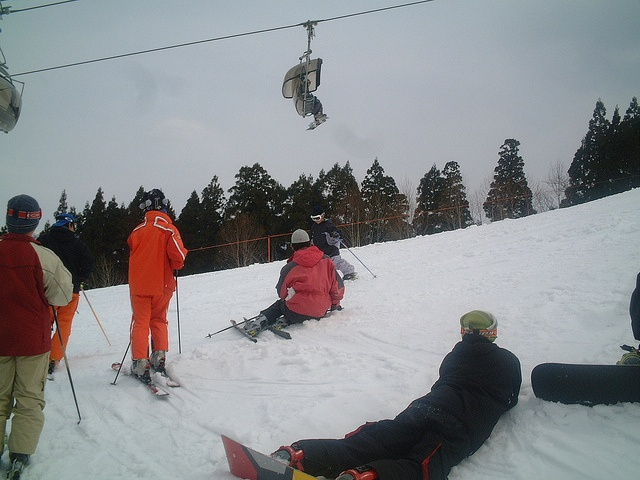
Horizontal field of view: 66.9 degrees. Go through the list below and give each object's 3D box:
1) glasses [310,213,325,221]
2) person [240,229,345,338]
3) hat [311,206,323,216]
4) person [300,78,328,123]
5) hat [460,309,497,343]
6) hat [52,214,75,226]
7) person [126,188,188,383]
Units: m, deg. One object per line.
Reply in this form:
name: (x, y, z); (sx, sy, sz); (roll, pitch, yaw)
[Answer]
glasses: (-0.041, -0.456, 10.188); (0.156, 0.113, 0.210); (-2, -5, 12)
person: (-0.294, 0.644, 7.623); (1.090, 1.613, 1.563); (-1, 4, -30)
hat: (-0.066, -0.589, 10.200); (0.157, 0.208, 0.226); (-8, -9, 16)
person: (-0.125, -2.362, 8.463); (0.411, 0.723, 0.724); (-5, -2, 11)
hat: (1.628, 0.847, 4.975); (0.273, 0.291, 0.335); (4, 3, 27)
hat: (-3.349, -0.253, 6.329); (0.199, 0.163, 0.146); (-30, 13, -19)
person: (-2.080, 0.558, 6.178); (0.731, 1.897, 0.644); (-4, -2, -31)
